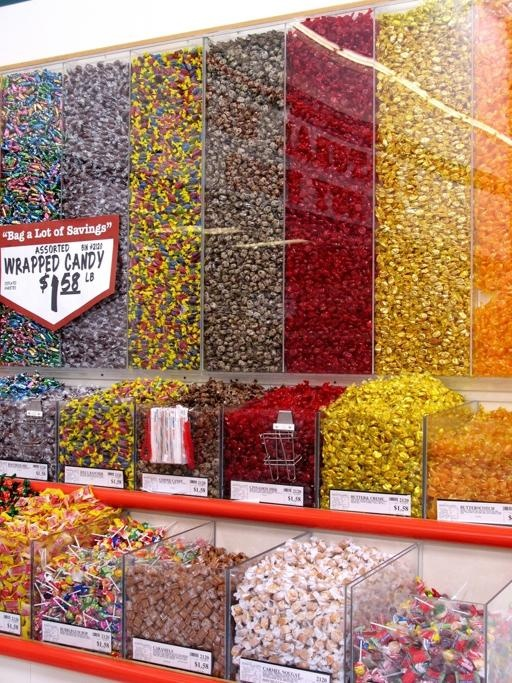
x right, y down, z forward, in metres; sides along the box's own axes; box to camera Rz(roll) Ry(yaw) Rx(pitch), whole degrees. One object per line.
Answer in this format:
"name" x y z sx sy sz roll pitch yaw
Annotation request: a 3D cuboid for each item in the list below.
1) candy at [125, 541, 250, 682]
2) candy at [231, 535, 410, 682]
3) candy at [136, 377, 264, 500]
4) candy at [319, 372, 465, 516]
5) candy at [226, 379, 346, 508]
"candy" -0.231 0.785 2.072 0.371 0.321 0.263 -1 -10 31
"candy" 0.208 0.760 2.038 0.332 0.257 0.461 -2 -5 33
"candy" -0.222 0.351 2.620 0.461 0.395 0.278 2 1 -26
"candy" 0.514 0.318 2.539 0.467 0.529 0.614 -1 -3 23
"candy" 0.139 0.353 2.613 0.384 0.387 0.623 -2 -3 17
